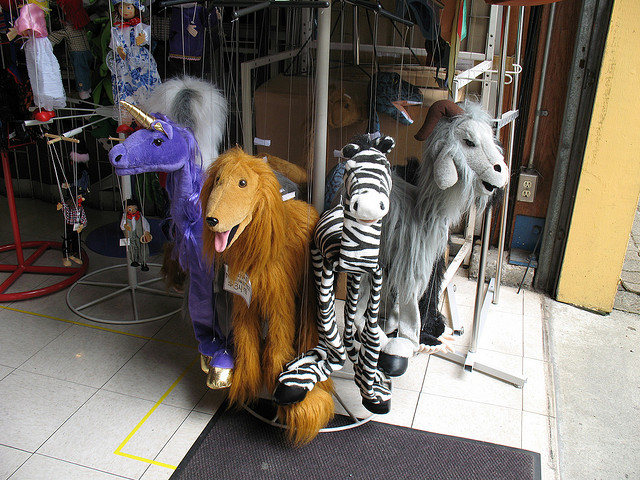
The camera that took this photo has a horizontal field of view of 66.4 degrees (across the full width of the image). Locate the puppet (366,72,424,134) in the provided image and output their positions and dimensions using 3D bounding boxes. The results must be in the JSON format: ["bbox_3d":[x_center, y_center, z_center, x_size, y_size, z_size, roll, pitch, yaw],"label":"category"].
[{"bbox_3d":[0.380,-0.742,2.524,0.271,0.356,0.266,1,24,3],"label":"puppet"}]

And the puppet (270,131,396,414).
[{"bbox_3d":[0.077,0.247,2.119,0.533,1.341,0.374,0,21,4],"label":"puppet"}]

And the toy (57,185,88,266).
[{"bbox_3d":[-1.513,-0.083,2.953,0.120,0.481,0.176,19,16,36],"label":"toy"}]

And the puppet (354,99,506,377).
[{"bbox_3d":[0.436,-0.046,2.318,0.378,1.336,0.914,0,19,-30],"label":"puppet"}]

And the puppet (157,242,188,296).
[{"bbox_3d":[-0.808,0.177,2.757,0.149,0.298,0.194,-7,25,-19],"label":"puppet"}]

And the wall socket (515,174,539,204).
[{"bbox_3d":[1.366,-0.346,3.222,0.108,0.228,0.112,8,28,11],"label":"wall socket"}]

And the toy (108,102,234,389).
[{"bbox_3d":[-0.618,0.066,2.343,0.273,1.302,0.512,2,14,27],"label":"toy"}]

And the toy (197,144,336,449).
[{"bbox_3d":[-0.175,0.187,2.277,0.430,1.142,0.997,5,11,25],"label":"toy"}]
